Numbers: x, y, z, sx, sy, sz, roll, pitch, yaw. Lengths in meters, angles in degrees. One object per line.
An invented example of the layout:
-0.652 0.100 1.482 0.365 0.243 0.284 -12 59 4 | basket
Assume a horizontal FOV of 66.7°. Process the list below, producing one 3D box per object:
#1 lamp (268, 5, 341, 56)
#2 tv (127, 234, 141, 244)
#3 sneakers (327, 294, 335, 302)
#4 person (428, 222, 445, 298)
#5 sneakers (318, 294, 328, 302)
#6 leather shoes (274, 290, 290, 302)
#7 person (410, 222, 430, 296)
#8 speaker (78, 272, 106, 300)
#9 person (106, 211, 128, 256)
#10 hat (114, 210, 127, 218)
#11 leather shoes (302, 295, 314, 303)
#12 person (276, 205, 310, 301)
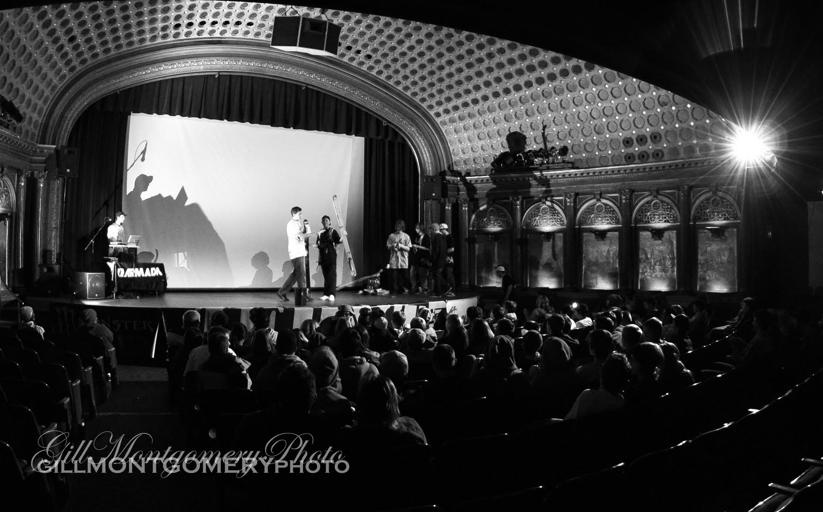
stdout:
-2.403 -4.739 13.525 1.386 0.860 1.376 13 9 38 | lamp
-6.639 -0.421 14.942 0.148 0.210 0.289 9 9 28 | tv
-1.711 0.875 13.287 0.119 0.114 0.156 1 0 8 | sneakers
0.617 0.072 15.402 0.356 1.727 0.618 0 0 -5 | person
-1.921 0.890 13.646 0.145 0.110 0.247 1 -11 -18 | sneakers
-2.827 0.863 13.711 0.275 0.188 0.098 41 -19 5 | leather shoes
0.208 0.033 15.994 0.440 1.756 1.195 0 0 0 | person
-6.671 0.604 13.050 0.556 0.559 0.515 2 -6 -11 | speaker
-6.808 -0.518 14.429 0.333 1.013 1.308 0 0 -26 | person
-6.937 -1.017 14.860 0.235 0.119 0.331 4 8 4 | hat
-2.157 0.874 12.990 0.128 0.177 0.443 -8 -4 -1 | leather shoes
-2.344 -0.020 12.710 0.572 1.941 0.998 0 0 -22 | person
